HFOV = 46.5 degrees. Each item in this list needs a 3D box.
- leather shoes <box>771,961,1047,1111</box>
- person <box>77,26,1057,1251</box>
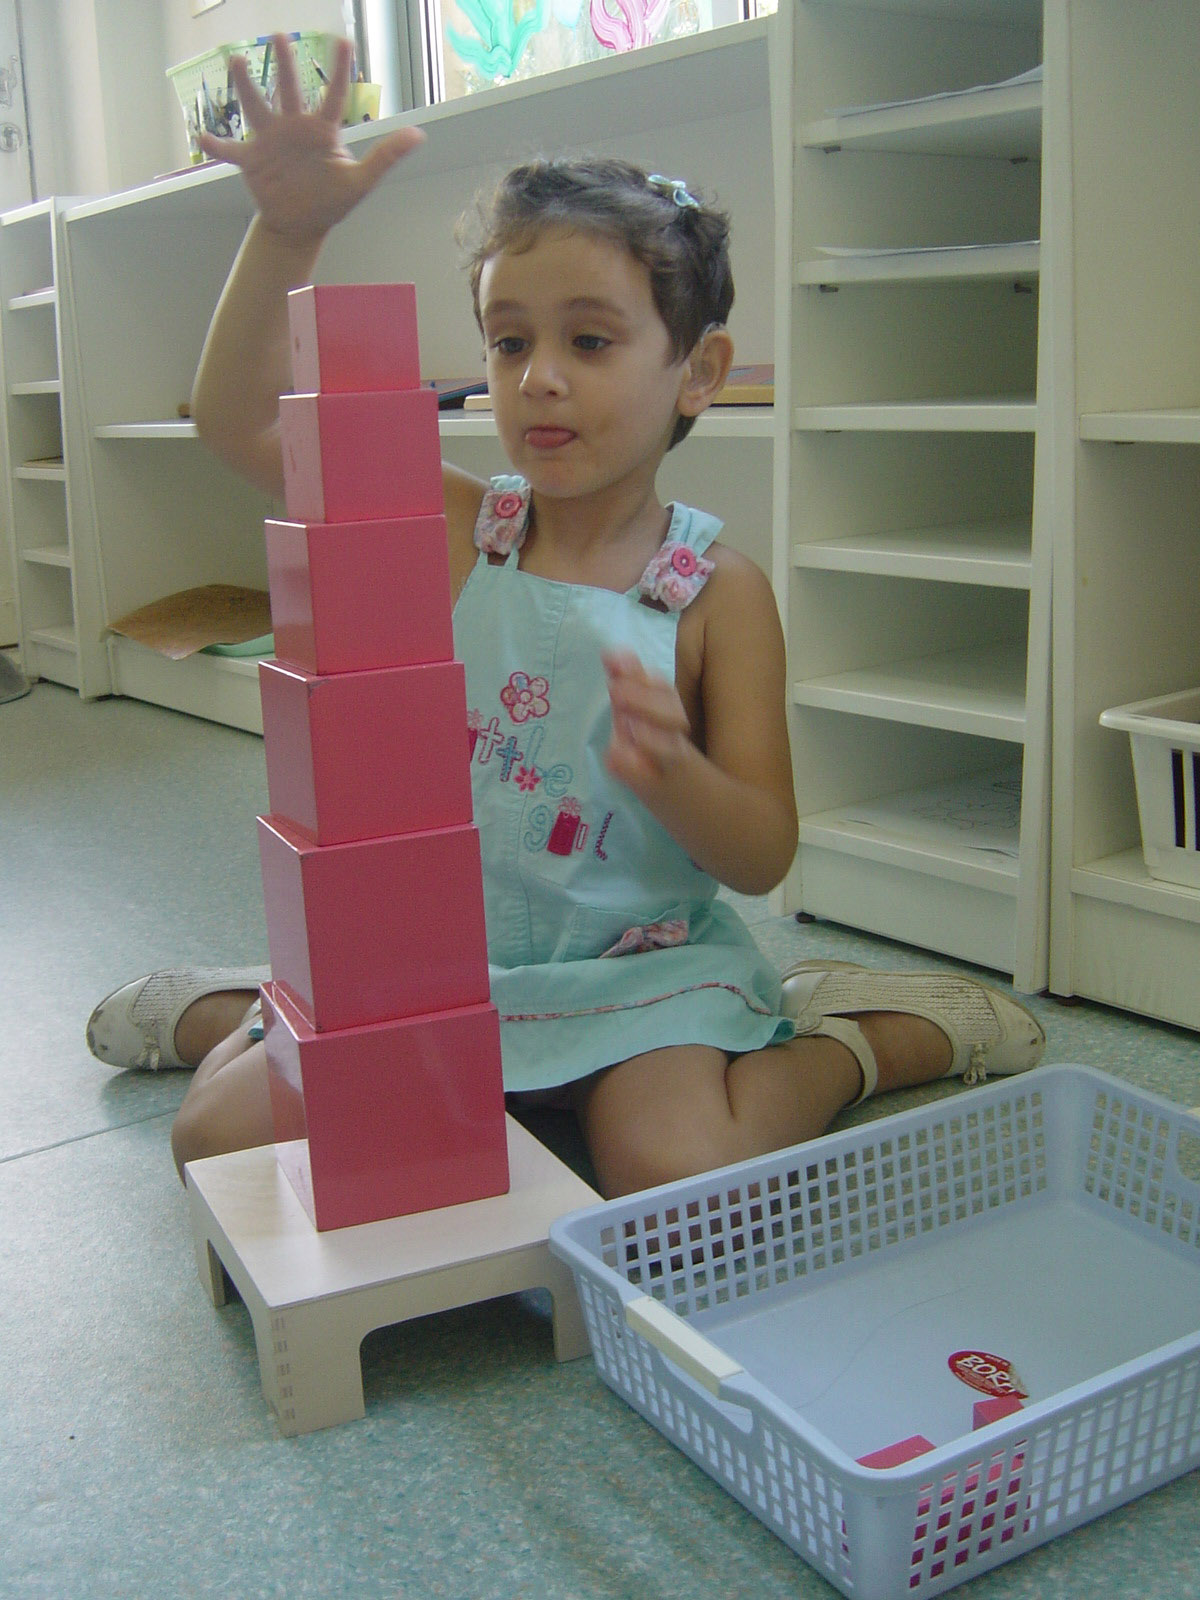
[{"bbox_3d":[0.215,0.172,0.990,0.198,0.080,0.073,2,1,5],"label":"leather shoes"},{"bbox_3d":[-0.015,-0.124,0.911,0.655,0.721,0.437,-5,11,-14],"label":"person"}]
